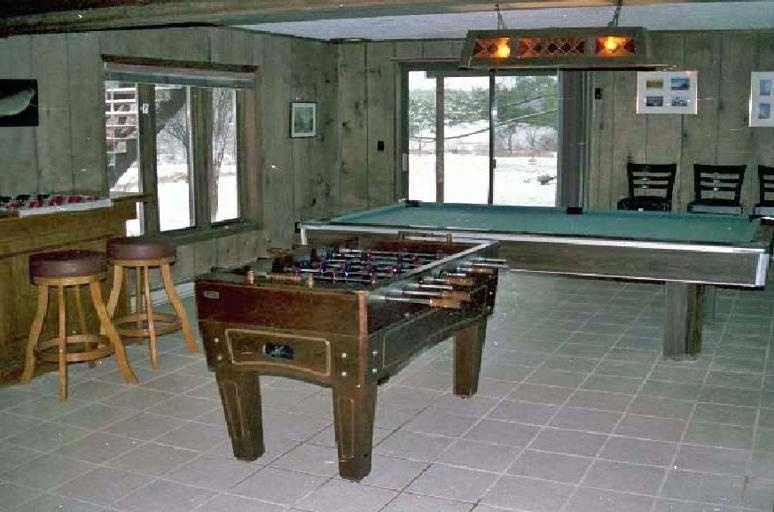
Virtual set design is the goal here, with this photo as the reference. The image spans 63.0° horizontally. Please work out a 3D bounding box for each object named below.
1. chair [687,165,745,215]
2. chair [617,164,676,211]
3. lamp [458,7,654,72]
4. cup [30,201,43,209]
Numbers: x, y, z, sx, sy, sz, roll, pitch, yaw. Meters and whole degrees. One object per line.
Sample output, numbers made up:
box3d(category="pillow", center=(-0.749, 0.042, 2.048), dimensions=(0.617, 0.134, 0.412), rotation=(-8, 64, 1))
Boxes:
box3d(category="chair", center=(4.751, -0.968, 9.080), dimensions=(0.848, 0.647, 0.811), rotation=(7, 12, 30))
box3d(category="chair", center=(3.782, -0.998, 9.096), dimensions=(0.673, 0.685, 1.045), rotation=(2, 13, 24))
box3d(category="lamp", center=(1.229, -1.672, 5.025), dimensions=(1.546, 0.261, 0.656), rotation=(-3, 23, -6))
box3d(category="cup", center=(-2.979, -0.430, 5.369), dimensions=(0.065, 0.055, 0.103), rotation=(-1, 5, 8))
